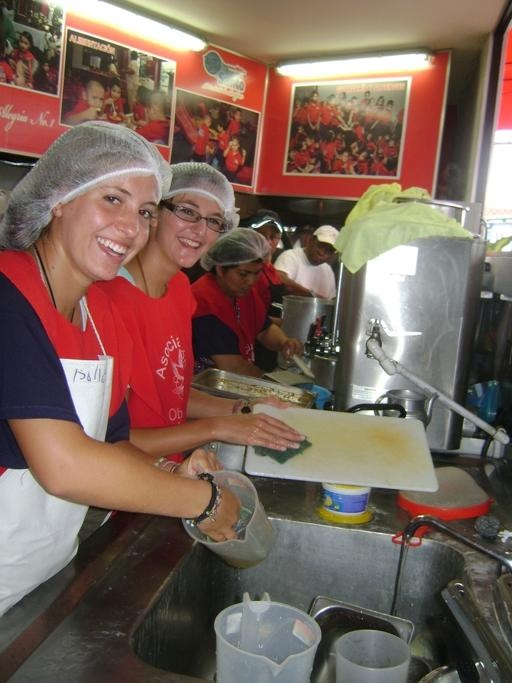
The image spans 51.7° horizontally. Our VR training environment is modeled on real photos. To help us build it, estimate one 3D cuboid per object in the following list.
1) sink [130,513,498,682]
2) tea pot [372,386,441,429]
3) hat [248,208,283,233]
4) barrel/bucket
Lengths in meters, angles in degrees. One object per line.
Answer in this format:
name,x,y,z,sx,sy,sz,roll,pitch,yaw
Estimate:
sink,0.105,0.401,0.875,0.382,0.125,0.273,2,37,9
tea pot,0.368,0.143,1.296,0.137,0.118,0.088,5,14,18
hat,0.053,-0.920,4.057,0.186,0.131,0.266,8,4,-35
barrel/bucket,0.249,-0.051,2.570,0.307,0.304,0.304,2,8,0
